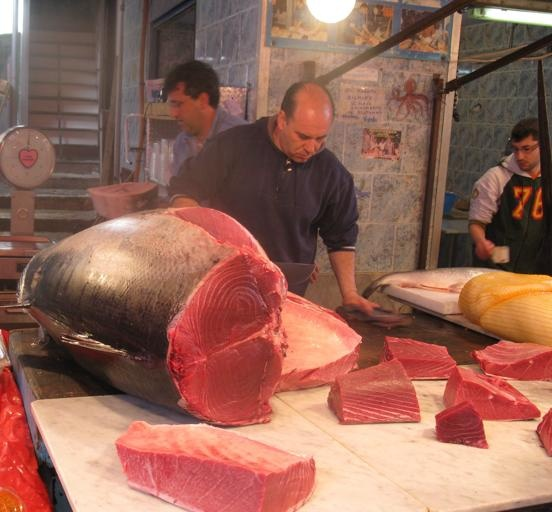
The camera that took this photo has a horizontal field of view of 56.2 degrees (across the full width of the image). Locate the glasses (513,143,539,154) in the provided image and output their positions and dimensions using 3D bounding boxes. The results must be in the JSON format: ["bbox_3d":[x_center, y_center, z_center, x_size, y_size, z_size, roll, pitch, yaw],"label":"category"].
[{"bbox_3d":[1.572,-0.682,3.271,0.144,0.061,0.080,6,8,27],"label":"glasses"}]

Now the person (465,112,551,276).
[{"bbox_3d":[1.525,-0.397,3.433,0.451,0.983,0.385,6,8,24],"label":"person"}]

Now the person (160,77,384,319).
[{"bbox_3d":[0.058,-0.266,2.136,0.870,0.840,0.467,8,9,35],"label":"person"}]

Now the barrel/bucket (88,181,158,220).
[{"bbox_3d":[-1.171,-0.441,4.153,0.624,0.344,0.767,-6,11,-11],"label":"barrel/bucket"}]

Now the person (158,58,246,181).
[{"bbox_3d":[-0.433,-0.855,3.294,0.449,0.722,0.801,-21,22,-27],"label":"person"}]

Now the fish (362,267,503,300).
[{"bbox_3d":[0.594,0.100,1.993,0.594,0.100,0.248,2,7,-6],"label":"fish"}]
